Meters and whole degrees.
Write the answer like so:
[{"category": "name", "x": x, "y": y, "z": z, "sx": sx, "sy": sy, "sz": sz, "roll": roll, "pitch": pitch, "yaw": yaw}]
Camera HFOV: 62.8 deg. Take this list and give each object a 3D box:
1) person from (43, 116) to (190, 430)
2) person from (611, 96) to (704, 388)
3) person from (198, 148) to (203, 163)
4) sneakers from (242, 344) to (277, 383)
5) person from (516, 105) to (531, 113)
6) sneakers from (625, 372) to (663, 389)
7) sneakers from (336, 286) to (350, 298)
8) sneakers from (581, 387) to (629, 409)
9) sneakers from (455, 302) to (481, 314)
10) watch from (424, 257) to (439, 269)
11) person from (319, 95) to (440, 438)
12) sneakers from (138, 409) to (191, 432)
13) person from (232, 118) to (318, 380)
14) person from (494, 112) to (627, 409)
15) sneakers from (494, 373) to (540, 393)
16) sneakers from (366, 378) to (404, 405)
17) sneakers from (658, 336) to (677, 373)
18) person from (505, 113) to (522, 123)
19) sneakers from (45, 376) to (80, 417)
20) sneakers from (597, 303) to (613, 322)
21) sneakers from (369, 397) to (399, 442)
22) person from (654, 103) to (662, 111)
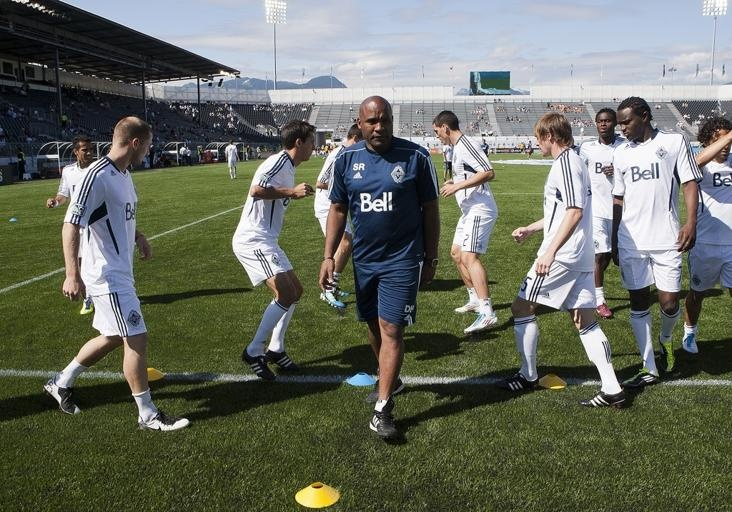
[{"category": "person", "x": -2.017, "y": 0.164, "z": 4.607, "sx": 1.021, "sy": 2.367, "sz": 0.821, "roll": -10, "pitch": 14, "yaw": -18}, {"category": "person", "x": 2.676, "y": -0.146, "z": 5.534, "sx": 0.817, "sy": 2.558, "sz": 0.810, "roll": -1, "pitch": 3, "yaw": 34}, {"category": "person", "x": -11.589, "y": -7.033, "z": 41.493, "sx": 0.381, "sy": 1.052, "sz": 0.774, "roll": -10, "pitch": 14, "yaw": -16}, {"category": "sneakers", "x": -0.972, "y": 0.966, "z": 5.477, "sx": 0.419, "sy": 0.186, "sz": 0.163, "roll": 41, "pitch": 18, "yaw": 9}, {"category": "person", "x": 20.586, "y": -19.372, "z": 78.607, "sx": 1.065, "sy": 0.687, "sz": 1.446, "roll": 1, "pitch": 15, "yaw": 1}, {"category": "sneakers", "x": 2.399, "y": 1.081, "z": 5.204, "sx": 0.349, "sy": 0.156, "sz": 0.125, "roll": -1, "pitch": -7, "yaw": -11}, {"category": "sneakers", "x": -0.333, "y": 0.470, "z": 7.850, "sx": 0.207, "sy": 0.148, "sz": 0.071, "roll": 4, "pitch": 22, "yaw": 32}, {"category": "sneakers", "x": 1.952, "y": 1.165, "z": 4.931, "sx": 0.374, "sy": 0.159, "sz": 0.136, "roll": 0, "pitch": -5, "yaw": 10}, {"category": "sneakers", "x": 1.205, "y": 0.611, "z": 7.136, "sx": 0.316, "sy": 0.135, "sz": 0.108, "roll": -2, "pitch": -2, "yaw": 6}, {"category": "watch", "x": 0.532, "y": 0.043, "z": 4.853, "sx": 0.096, "sy": 0.061, "sz": 0.093, "roll": -10, "pitch": -5, "yaw": -41}, {"category": "person", "x": 0.146, "y": 0.088, "z": 4.828, "sx": 0.933, "sy": 2.561, "sz": 0.913, "roll": -9, "pitch": 11, "yaw": -40}, {"category": "sneakers", "x": -1.573, "y": 1.283, "z": 4.696, "sx": 0.395, "sy": 0.156, "sz": 0.154, "roll": -1, "pitch": -3, "yaw": -2}, {"category": "person", "x": -0.852, "y": -0.109, "z": 5.713, "sx": 0.902, "sy": 2.276, "sz": 1.136, "roll": -7, "pitch": 14, "yaw": -6}, {"category": "person", "x": 1.656, "y": 0.014, "z": 5.000, "sx": 0.942, "sy": 2.359, "sz": 0.712, "roll": 0, "pitch": 15, "yaw": 23}, {"category": "sneakers", "x": 1.310, "y": 1.100, "z": 5.216, "sx": 0.376, "sy": 0.147, "sz": 0.145, "roll": 1, "pitch": 0, "yaw": 0}, {"category": "sneakers", "x": 0.167, "y": 1.140, "z": 5.097, "sx": 0.137, "sy": 0.176, "sz": 0.414, "roll": -10, "pitch": -11, "yaw": 24}, {"category": "sneakers", "x": 2.845, "y": 0.917, "z": 5.639, "sx": 0.134, "sy": 0.167, "sz": 0.400, "roll": -4, "pitch": 45, "yaw": 17}, {"category": "person", "x": 18.602, "y": -17.484, "z": 76.060, "sx": 1.886, "sy": 1.075, "sz": 0.943, "roll": -1, "pitch": 7, "yaw": 13}, {"category": "sneakers", "x": -2.486, "y": 1.147, "z": 4.861, "sx": 0.334, "sy": 0.166, "sz": 0.118, "roll": 40, "pitch": 6, "yaw": 0}, {"category": "sneakers", "x": 2.760, "y": 0.636, "z": 6.908, "sx": 0.148, "sy": 0.142, "sz": 0.299, "roll": -6, "pitch": -2, "yaw": -2}, {"category": "sneakers", "x": 0.120, "y": 1.237, "z": 4.524, "sx": 0.204, "sy": 0.250, "sz": 0.219, "roll": -6, "pitch": 14, "yaw": -3}, {"category": "person", "x": 37.459, "y": -19.182, "z": 76.810, "sx": 0.976, "sy": 0.494, "sz": 1.746, "roll": 1, "pitch": 25, "yaw": 32}]
